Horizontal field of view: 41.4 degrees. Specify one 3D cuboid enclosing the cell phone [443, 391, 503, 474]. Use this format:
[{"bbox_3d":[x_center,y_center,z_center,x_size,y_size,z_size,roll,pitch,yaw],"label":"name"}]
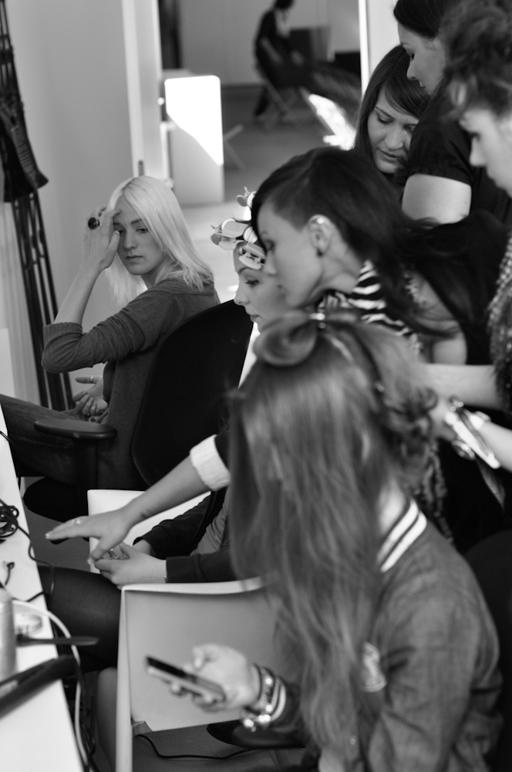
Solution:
[{"bbox_3d":[0.281,0.062,0.892,0.050,0.127,0.033,-39,7,11],"label":"cell phone"}]
